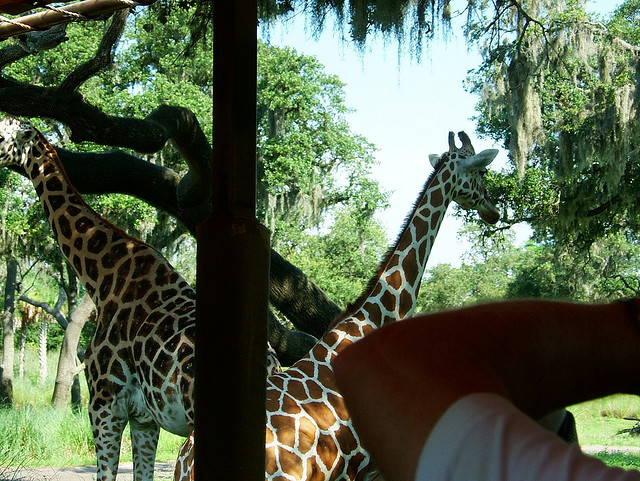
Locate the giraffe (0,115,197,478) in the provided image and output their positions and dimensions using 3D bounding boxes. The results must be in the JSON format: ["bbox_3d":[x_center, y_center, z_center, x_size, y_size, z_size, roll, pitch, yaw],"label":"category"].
[{"bbox_3d":[-1.831,0.472,7.107,0.769,3.464,2.341,-8,1,-44],"label":"giraffe"}]

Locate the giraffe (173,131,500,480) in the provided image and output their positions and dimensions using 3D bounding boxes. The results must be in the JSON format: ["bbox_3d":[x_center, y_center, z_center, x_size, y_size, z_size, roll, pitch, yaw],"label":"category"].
[{"bbox_3d":[0.489,0.597,6.806,0.846,2.654,3.174,-6,2,32],"label":"giraffe"}]
